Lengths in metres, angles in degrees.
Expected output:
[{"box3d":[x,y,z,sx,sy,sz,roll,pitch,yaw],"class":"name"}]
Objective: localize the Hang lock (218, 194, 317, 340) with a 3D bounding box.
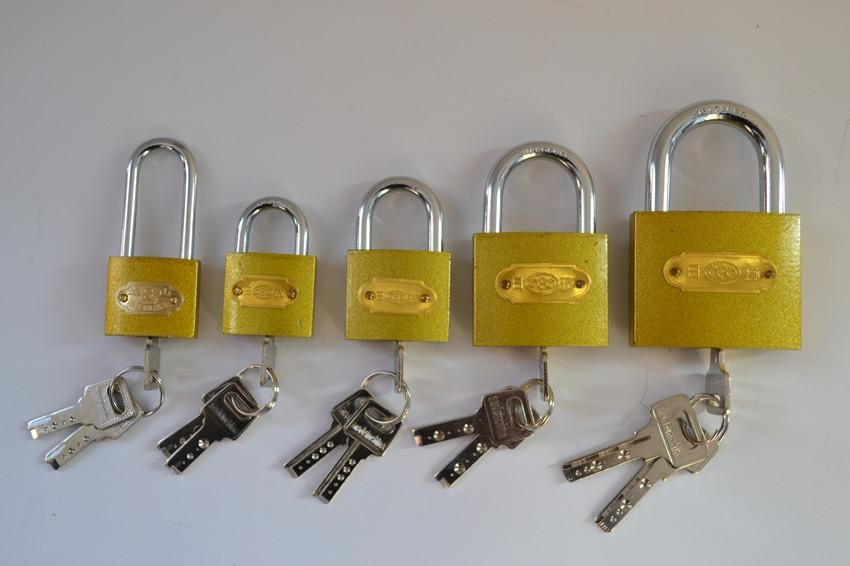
[{"box3d":[-0.452,-0.048,2.086,0.266,0.410,0.114,0,-1,-9],"class":"Hang lock"}]
